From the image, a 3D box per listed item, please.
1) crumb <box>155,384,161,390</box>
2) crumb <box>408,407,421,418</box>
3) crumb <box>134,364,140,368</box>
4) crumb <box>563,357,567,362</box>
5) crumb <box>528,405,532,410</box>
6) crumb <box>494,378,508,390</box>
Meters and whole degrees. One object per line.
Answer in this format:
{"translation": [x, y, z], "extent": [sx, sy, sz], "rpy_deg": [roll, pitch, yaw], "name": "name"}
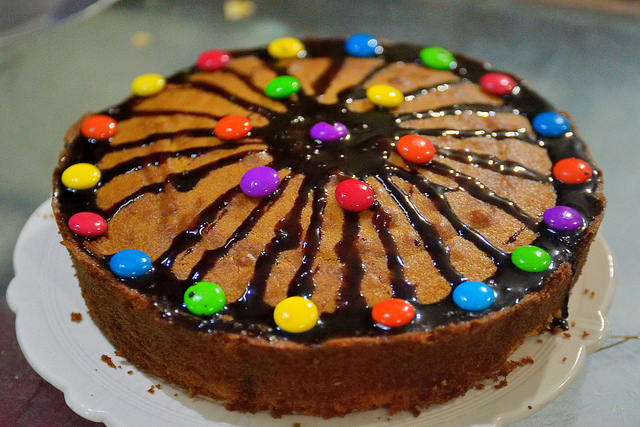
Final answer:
{"translation": [-1.097, 1.170, 5.243], "extent": [0.032, 0.007, 0.024], "rpy_deg": [1, 49, -4], "name": "crumb"}
{"translation": [0.632, 1.316, 5.137], "extent": [0.053, 0.023, 0.072], "rpy_deg": [-43, 52, -16], "name": "crumb"}
{"translation": [-1.260, 1.048, 5.335], "extent": [0.022, 0.005, 0.019], "rpy_deg": [-25, 61, -15], "name": "crumb"}
{"translation": [1.684, 0.995, 5.316], "extent": [0.018, 0.017, 0.018], "rpy_deg": [30, 89, -1], "name": "crumb"}
{"translation": [1.392, 1.280, 5.122], "extent": [0.026, 0.005, 0.021], "rpy_deg": [14, 74, 17], "name": "crumb"}
{"translation": [1.231, 1.149, 5.224], "extent": [0.027, 0.047, 0.062], "rpy_deg": [29, 70, 24], "name": "crumb"}
